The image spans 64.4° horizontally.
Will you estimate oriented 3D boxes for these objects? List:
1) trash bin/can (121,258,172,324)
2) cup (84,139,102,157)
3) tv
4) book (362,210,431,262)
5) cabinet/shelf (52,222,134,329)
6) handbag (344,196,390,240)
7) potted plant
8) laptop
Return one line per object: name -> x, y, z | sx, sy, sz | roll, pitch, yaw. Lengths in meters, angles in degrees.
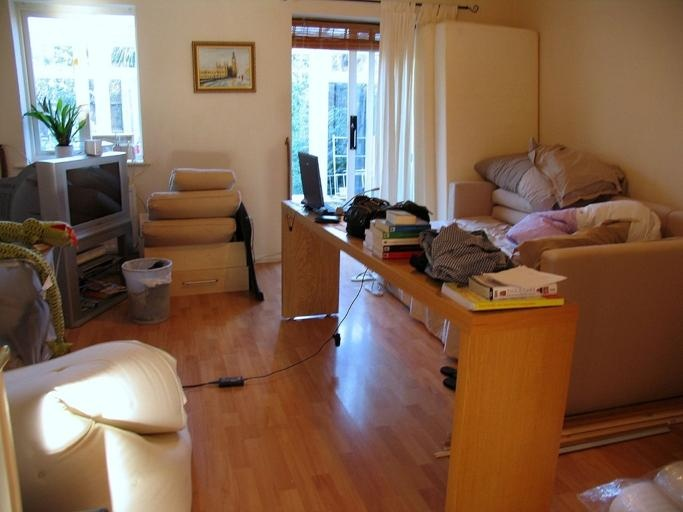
trash bin/can -> -1.433, 0.187, 4.126 | 0.405, 0.496, 0.424 | -6, 19, -25
cup -> -1.956, -0.846, 4.260 | 0.124, 0.130, 0.132 | 3, 22, -1
tv -> -1.997, -0.467, 4.170 | 0.327, 0.611, 0.676 | 9, 19, 20
book -> 0.259, -0.131, 2.525 | 0.228, 0.172, 0.236 | -5, 18, -26
cabinet/shelf -> -1.969, 0.070, 4.210 | 0.382, 0.697, 0.708 | 5, 17, 20
handbag -> 0.108, -0.200, 2.878 | 0.186, 0.197, 0.150 | 11, 11, 15
potted plant -> -2.444, -1.148, 4.651 | 0.491, 0.452, 0.556 | 7, 11, -4
laptop -> -0.116, -0.479, 3.595 | 0.269, 0.371, 0.391 | -5, 14, -28
